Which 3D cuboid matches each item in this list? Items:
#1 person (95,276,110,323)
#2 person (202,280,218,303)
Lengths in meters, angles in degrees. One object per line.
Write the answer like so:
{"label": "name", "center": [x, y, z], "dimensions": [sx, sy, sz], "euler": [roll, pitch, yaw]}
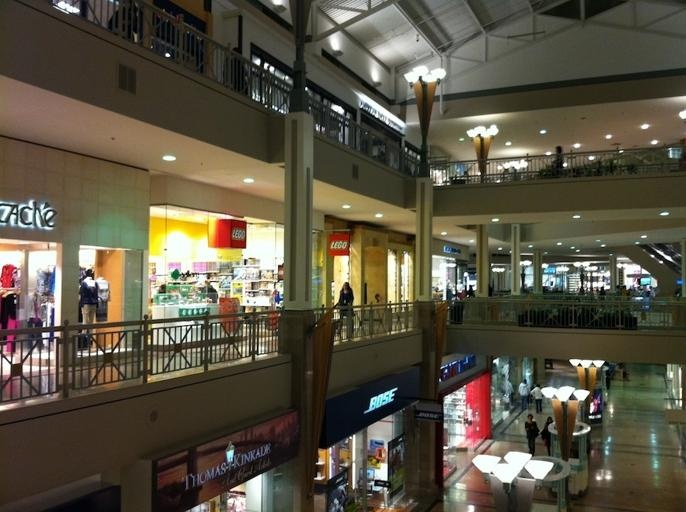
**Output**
{"label": "person", "center": [-5.943, 1.068, 13.247], "dimensions": [0.314, 1.066, 0.447], "euler": [-4, -6, 42]}
{"label": "person", "center": [-3.811, 1.010, 15.229], "dimensions": [0.473, 0.950, 0.483], "euler": [0, 3, 0]}
